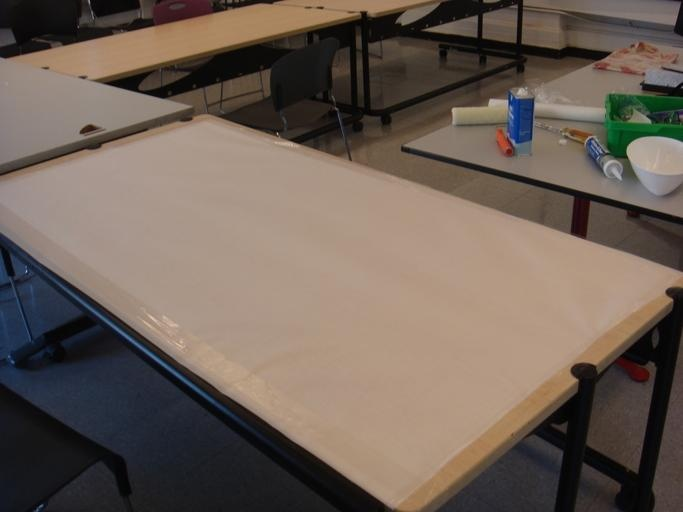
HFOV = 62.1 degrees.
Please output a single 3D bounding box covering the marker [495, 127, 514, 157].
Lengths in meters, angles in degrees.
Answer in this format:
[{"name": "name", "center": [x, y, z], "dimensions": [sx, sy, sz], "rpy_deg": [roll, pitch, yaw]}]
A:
[{"name": "marker", "center": [0.566, -0.394, 1.968], "dimensions": [0.040, 0.036, 0.142], "rpy_deg": [-33, 34, 21]}]
